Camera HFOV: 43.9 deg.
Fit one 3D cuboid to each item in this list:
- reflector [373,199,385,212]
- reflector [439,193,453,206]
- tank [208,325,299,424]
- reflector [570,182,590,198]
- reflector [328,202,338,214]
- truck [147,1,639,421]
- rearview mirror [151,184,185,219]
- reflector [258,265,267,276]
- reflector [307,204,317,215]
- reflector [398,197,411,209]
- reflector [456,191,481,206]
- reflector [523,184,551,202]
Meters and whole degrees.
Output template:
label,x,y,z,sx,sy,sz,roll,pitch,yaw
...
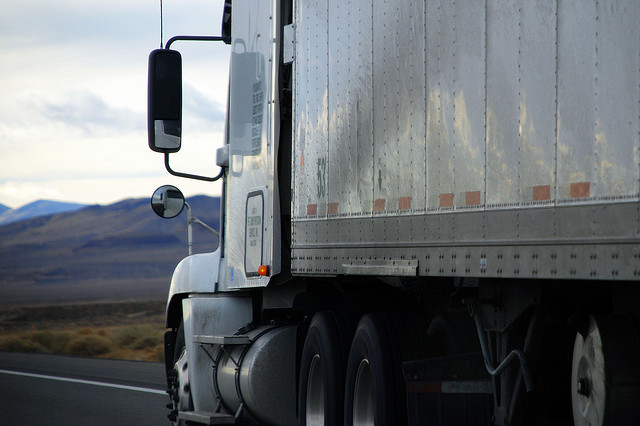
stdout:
label,x,y,z,sx,sy,sz,roll,pitch,yaw
reflector,0.512,-0.064,6.857,0.065,0.160,0.129,3,-5,-32
reflector,0.987,-0.102,6.220,0.014,0.102,0.140,3,-5,-38
tank,-0.702,1.855,9.089,0.846,1.112,1.002,3,-4,10
reflector,1.740,-0.152,5.338,0.136,0.104,0.014,-3,-5,40
reflector,0.120,-0.045,7.438,0.024,0.105,0.163,2,-4,-24
truck,0.213,0.050,7.676,2.349,3.775,6.238,3,-5,-20
rearview mirror,-1.779,-0.122,9.222,0.288,0.399,0.043,2,-8,-25
reflector,-0.629,0.629,8.684,0.012,0.116,0.187,2,-5,-34
reflector,-0.077,-0.033,7.772,0.007,0.107,0.198,2,-5,-30
reflector,0.699,-0.082,6.597,0.010,0.106,0.151,3,-5,-39
reflector,1.126,-0.111,6.051,0.013,0.107,0.241,3,-5,-37
reflector,1.519,-0.139,5.585,0.015,0.106,0.231,3,-5,-37
